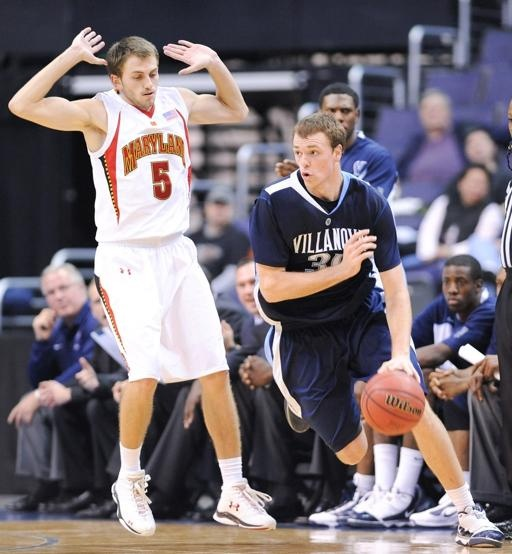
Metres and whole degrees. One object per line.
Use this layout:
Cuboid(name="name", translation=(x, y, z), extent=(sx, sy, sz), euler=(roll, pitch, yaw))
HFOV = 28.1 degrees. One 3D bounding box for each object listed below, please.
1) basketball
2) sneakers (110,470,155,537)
Cuboid(name="basketball", translation=(0.618, 0.568, 4.709), extent=(0.322, 0.336, 0.290), euler=(4, -4, -18))
Cuboid(name="sneakers", translation=(-0.611, 1.115, 5.078), extent=(0.186, 0.305, 0.300), euler=(-4, 3, -8))
